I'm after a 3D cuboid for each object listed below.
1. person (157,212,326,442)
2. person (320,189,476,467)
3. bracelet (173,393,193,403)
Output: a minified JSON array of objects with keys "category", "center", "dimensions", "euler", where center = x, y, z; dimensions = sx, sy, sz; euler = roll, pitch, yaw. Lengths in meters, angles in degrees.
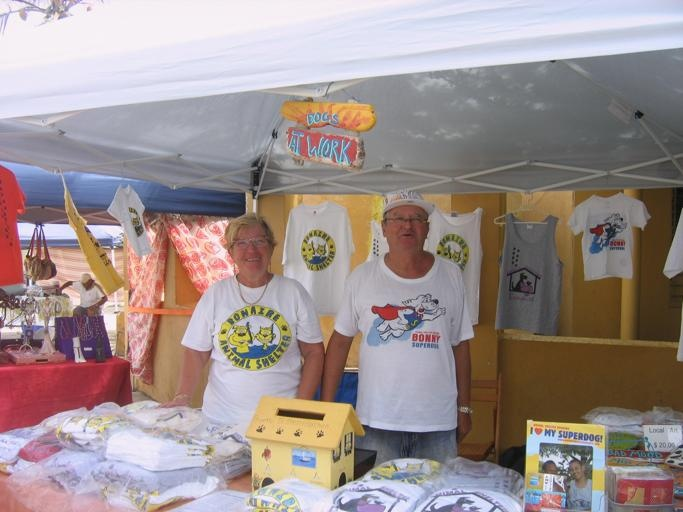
[{"category":"person","center":[-0.512,0.371,3.235],"dimensions":[0.813,1.128,0.619],"euler":[0,17,-2]},{"category":"person","center":[0.322,0.357,3.323],"dimensions":[0.824,1.490,0.387],"euler":[2,-2,11]},{"category":"bracelet","center":[-0.787,0.699,2.919],"dimensions":[0.050,0.058,0.066],"euler":[-3,-22,3]}]
